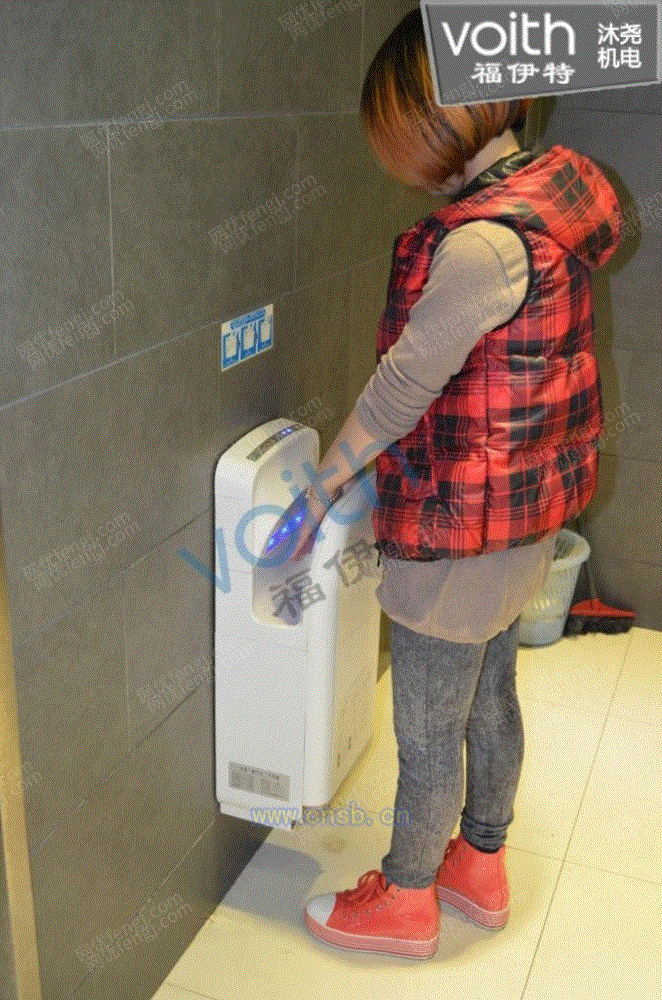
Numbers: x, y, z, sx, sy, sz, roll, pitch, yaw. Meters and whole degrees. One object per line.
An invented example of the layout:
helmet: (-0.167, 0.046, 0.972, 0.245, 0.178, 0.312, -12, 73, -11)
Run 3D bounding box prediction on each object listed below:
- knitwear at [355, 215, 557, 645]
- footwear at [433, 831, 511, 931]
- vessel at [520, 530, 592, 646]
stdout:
knitwear: (0.171, -0.057, 1.180, 0.269, 0.610, 0.335, 7, 12, 16)
footwear: (0.277, 0.759, 1.732, 0.087, 0.155, 0.240, -6, 0, -26)
vessel: (0.687, 0.306, 2.763, 0.278, 0.280, 0.292, -2, 9, 30)
